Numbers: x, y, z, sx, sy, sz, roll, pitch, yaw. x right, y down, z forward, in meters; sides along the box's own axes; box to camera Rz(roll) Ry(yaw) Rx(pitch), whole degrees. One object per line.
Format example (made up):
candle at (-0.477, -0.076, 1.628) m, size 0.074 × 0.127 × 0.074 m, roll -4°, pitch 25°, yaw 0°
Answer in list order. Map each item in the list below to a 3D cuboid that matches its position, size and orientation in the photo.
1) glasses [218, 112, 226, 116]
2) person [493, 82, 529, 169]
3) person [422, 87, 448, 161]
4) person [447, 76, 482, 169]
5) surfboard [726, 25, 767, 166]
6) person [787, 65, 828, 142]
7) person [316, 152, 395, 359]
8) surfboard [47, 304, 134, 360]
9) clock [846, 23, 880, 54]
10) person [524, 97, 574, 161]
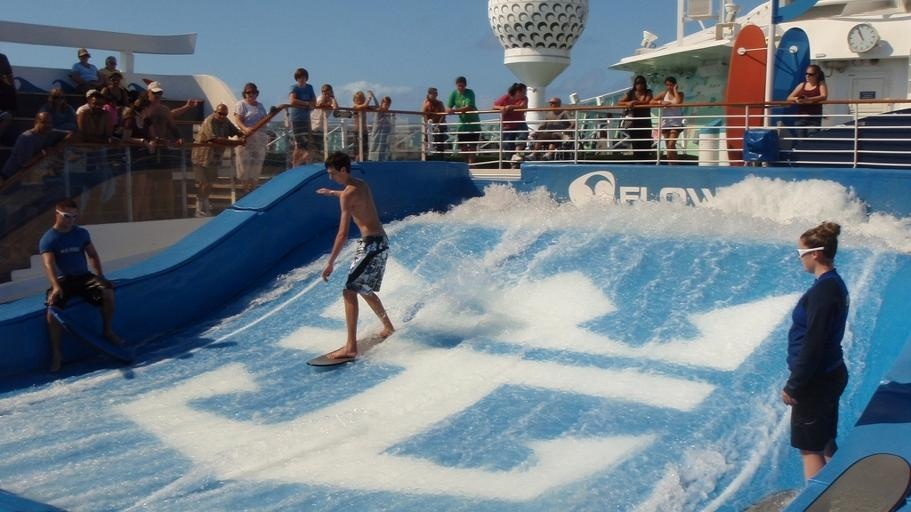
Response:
glasses at (-4.873, -2.999, 18.976) m, size 0.043 × 0.098 × 0.220 m, roll 1°, pitch 10°, yaw 21°
person at (1.442, -3.267, 22.651) m, size 0.772 × 2.119 × 1.111 m, roll -3°, pitch 11°, yaw 3°
person at (-0.486, -3.397, 23.188) m, size 0.596 × 1.816 × 0.488 m, roll -4°, pitch 11°, yaw -4°
person at (0.254, -3.350, 22.497) m, size 0.790 × 2.200 × 1.592 m, roll -3°, pitch 11°, yaw 1°
surfboard at (7.153, -4.406, 22.079) m, size 0.888 × 0.407 × 3.414 m, roll -11°, pitch -26°, yaw 13°
person at (7.636, -3.386, 19.563) m, size 0.718 × 1.552 × 1.488 m, roll 0°, pitch 11°, yaw 20°
person at (-1.783, -0.025, 16.466) m, size 1.245 × 3.679 × 0.711 m, roll -9°, pitch 12°, yaw -24°
surfboard at (-6.763, 1.406, 16.573) m, size 2.135 × 0.227 × 0.572 m, roll 29°, pitch -13°, yaw 13°
clock at (11.582, -6.192, 25.495) m, size 0.313 × 0.946 × 0.957 m, roll -2°, pitch 5°, yaw -44°
person at (2.378, -3.183, 22.580) m, size 1.068 × 1.477 × 2.133 m, roll -2°, pitch 10°, yaw 7°
